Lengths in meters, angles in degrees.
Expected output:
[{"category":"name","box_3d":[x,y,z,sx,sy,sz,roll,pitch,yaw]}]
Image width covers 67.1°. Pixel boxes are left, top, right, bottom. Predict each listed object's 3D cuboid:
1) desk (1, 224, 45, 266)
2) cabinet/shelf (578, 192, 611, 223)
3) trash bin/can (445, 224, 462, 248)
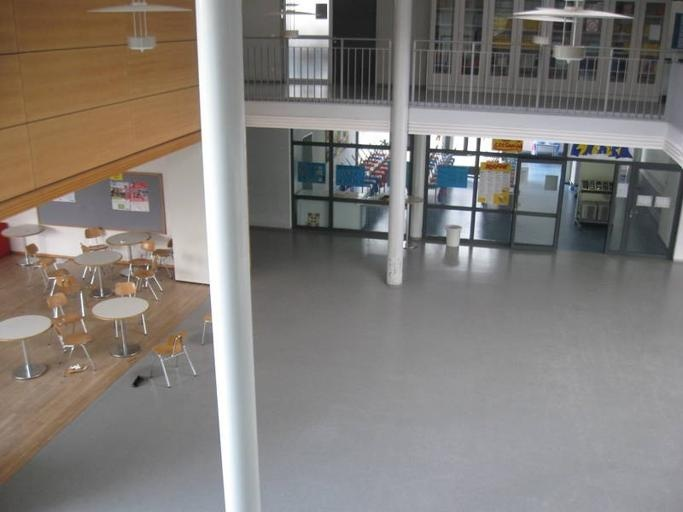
[{"category":"desk","box_3d":[-7.755,-0.305,12.571,0.665,0.625,0.663,30,38,23]},{"category":"cabinet/shelf","box_3d":[7.306,-1.405,14.847,0.933,0.643,0.493,3,28,14]},{"category":"trash bin/can","box_3d":[2.880,-0.537,13.430,0.474,0.510,0.534,1,22,5]}]
